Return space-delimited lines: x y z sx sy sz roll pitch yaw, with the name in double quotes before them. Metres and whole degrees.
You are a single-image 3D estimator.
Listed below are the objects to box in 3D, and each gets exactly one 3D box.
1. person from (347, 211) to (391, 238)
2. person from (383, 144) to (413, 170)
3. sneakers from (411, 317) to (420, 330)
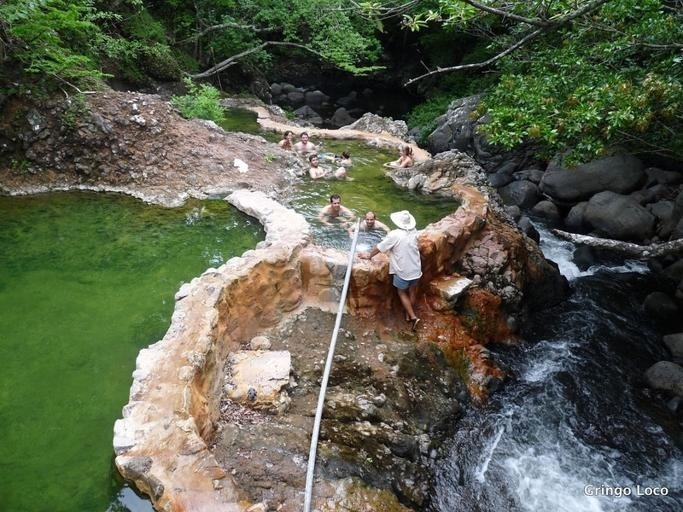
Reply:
"person" 0.695 -0.764 11.620 0.922 1.453 0.549 -1 82 6
"person" 1.937 -3.109 16.119 1.131 0.831 0.765 -4 49 -1
"sneakers" 1.469 1.360 10.141 0.103 0.127 0.285 -1 78 3
